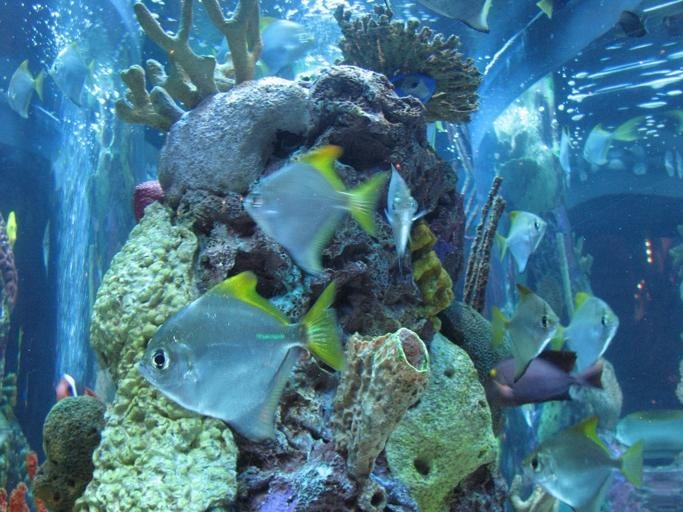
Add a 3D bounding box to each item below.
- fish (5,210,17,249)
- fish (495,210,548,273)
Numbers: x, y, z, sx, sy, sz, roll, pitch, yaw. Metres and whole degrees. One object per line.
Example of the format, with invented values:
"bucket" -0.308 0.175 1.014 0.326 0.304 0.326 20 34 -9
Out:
"fish" -5.988 -0.495 12.270 0.156 0.726 0.314 7 -2 -12
"fish" 2.717 -0.245 10.314 0.696 0.730 0.367 7 -2 15
